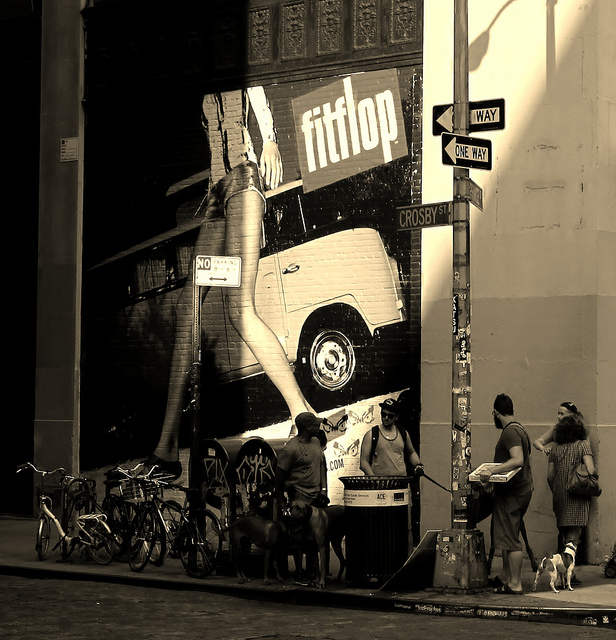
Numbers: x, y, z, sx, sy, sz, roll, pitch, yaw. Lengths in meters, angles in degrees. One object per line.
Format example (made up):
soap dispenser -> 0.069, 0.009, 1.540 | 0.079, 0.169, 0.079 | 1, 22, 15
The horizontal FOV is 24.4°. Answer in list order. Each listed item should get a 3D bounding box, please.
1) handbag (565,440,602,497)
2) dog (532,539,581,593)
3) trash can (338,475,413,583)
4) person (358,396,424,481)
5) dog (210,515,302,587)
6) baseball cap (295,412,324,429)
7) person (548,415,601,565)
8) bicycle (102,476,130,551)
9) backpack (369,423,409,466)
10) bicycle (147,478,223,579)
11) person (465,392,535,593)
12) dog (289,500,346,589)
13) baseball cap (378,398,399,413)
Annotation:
handbag -> 3.063, 1.646, 15.807 | 0.377, 0.603, 0.190 | 1, -6, 13
dog -> 2.687, 2.593, 15.058 | 0.621, 0.572, 0.209 | 1, 1, -38
trash can -> 0.725, 2.301, 15.364 | 0.812, 1.259, 0.906 | 1, -8, -22
person -> 0.937, 1.640, 16.147 | 0.622, 1.481, 0.679 | -1, 3, -4
dog -> -0.566, 2.426, 15.424 | 0.856, 0.757, 0.881 | 2, 2, -30
baseball cap -> -0.004, 1.137, 15.489 | 0.224, 0.149, 0.162 | -8, 11, -6
person -> 3.080, 1.884, 15.984 | 0.561, 1.521, 0.691 | 1, 1, 43
bicycle -> -2.298, 2.300, 16.941 | 0.314, 0.858, 0.346 | 1, 1, 1
backpack -> 0.828, 1.408, 16.203 | 0.345, 0.212, 0.217 | -29, -2, -21
bicycle -> -1.403, 2.385, 16.223 | 0.821, 1.030, 1.234 | 3, -6, -7
person -> 2.109, 1.834, 15.199 | 0.635, 2.064, 0.835 | 0, 0, 12
dog -> 0.153, 2.410, 15.301 | 0.478, 0.907, 0.795 | -1, -6, 26
baseball cap -> 0.967, 1.027, 16.807 | 0.190, 0.113, 0.304 | 0, -17, 43
